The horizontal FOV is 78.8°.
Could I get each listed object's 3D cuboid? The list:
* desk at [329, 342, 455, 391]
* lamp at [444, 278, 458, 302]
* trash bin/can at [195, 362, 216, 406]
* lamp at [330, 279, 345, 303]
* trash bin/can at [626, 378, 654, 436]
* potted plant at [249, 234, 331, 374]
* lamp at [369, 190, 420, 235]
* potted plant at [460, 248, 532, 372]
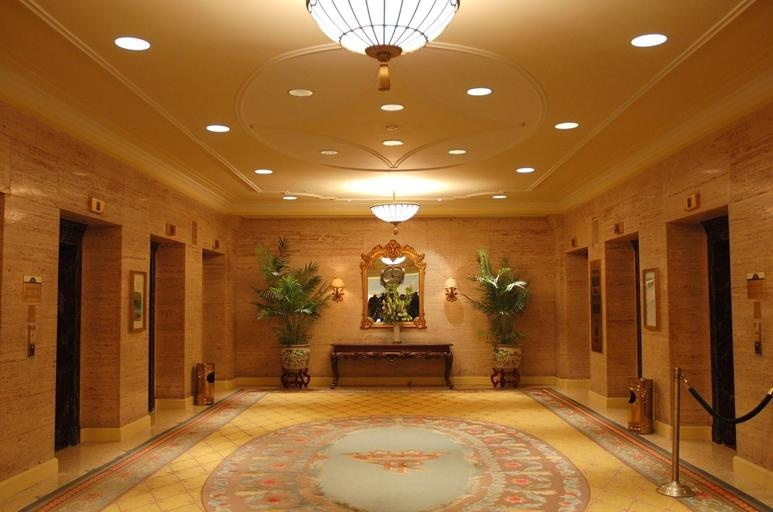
[{"bbox_3d":[0.121,2.799,11.965,3.165,1.101,0.655,0,-6,3],"label":"desk"},{"bbox_3d":[1.685,0.894,12.284,0.337,0.595,0.197,-1,-7,6],"label":"lamp"},{"bbox_3d":[-3.817,2.695,9.798,0.417,0.862,0.322,3,-7,-22],"label":"trash bin/can"},{"bbox_3d":[-1.262,0.905,12.300,0.399,0.616,0.243,1,-7,-8],"label":"lamp"},{"bbox_3d":[4.118,2.431,7.560,0.433,0.860,0.209,-1,-7,11],"label":"trash bin/can"},{"bbox_3d":[-2.408,1.206,11.944,1.775,3.402,0.792,1,-7,-7],"label":"potted plant"},{"bbox_3d":[0.184,-0.821,10.114,1.166,0.525,1.037,-1,-7,0],"label":"lamp"},{"bbox_3d":[2.882,1.403,11.949,1.434,3.040,0.722,-1,-7,12],"label":"potted plant"}]
